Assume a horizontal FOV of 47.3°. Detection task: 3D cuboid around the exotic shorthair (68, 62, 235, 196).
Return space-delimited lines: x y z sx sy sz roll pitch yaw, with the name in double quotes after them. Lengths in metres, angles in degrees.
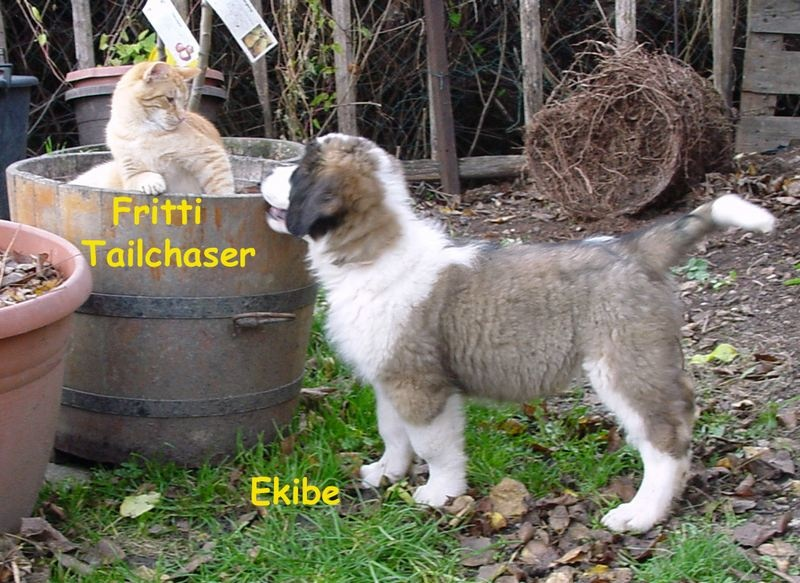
-1.434 -0.931 5.425 0.860 0.528 1.277 0 0 -12 "exotic shorthair"
